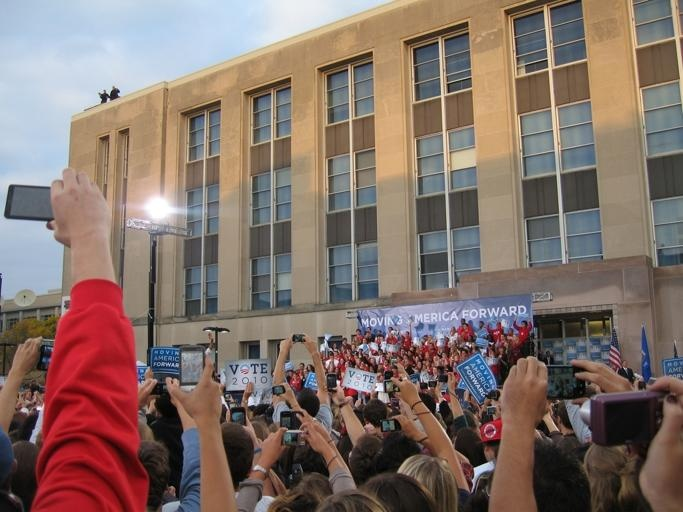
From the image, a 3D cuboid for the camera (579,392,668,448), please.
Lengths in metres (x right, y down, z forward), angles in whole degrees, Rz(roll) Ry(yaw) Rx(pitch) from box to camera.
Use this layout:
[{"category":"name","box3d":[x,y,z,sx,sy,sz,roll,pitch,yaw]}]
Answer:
[{"category":"camera","box3d":[1.242,0.689,2.745,0.314,0.231,0.229,-5,5,1]}]
